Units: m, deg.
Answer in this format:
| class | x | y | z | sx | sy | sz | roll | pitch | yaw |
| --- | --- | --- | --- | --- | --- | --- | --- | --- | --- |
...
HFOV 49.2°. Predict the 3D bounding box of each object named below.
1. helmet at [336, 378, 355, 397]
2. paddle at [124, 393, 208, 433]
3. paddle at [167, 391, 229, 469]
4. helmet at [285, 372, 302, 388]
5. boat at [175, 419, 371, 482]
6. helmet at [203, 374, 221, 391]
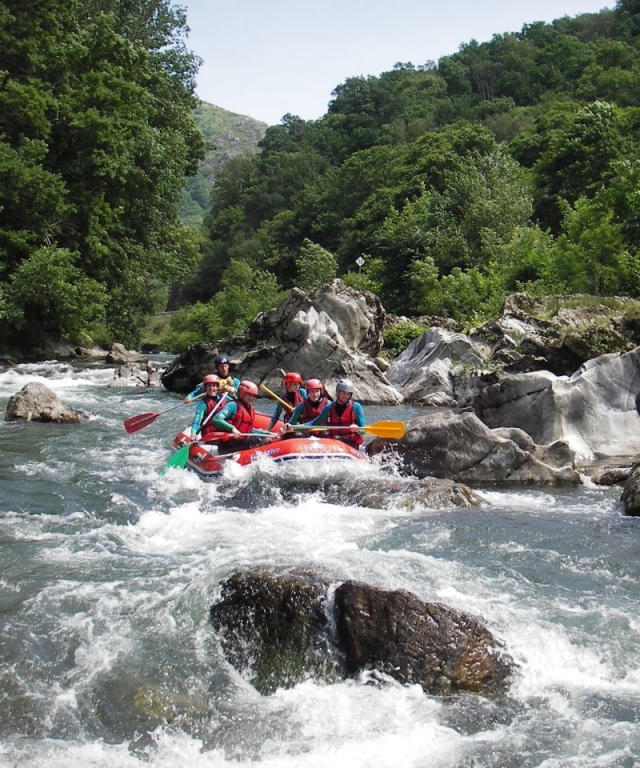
| class | x | y | z | sx | sy | sz | roll | pitch | yaw |
| --- | --- | --- | --- | --- | --- | --- | --- | --- | --- |
| helmet | 0.379 | 0.055 | 10.611 | 0.204 | 0.188 | 0.246 | 6 | 15 | -6 |
| paddle | -3.437 | 0.665 | 15.432 | 2.245 | 0.341 | 0.106 | -19 | 11 | 12 |
| paddle | -2.082 | 0.810 | 11.857 | 1.916 | 0.255 | 0.092 | -40 | -8 | 25 |
| helmet | -0.462 | -0.064 | 11.289 | 0.261 | 0.187 | 0.211 | -9 | -10 | 41 |
| boat | -0.816 | 1.029 | 10.381 | 2.687 | 0.704 | 1.390 | 5 | 9 | 38 |
| helmet | -1.790 | -0.023 | 11.516 | 0.226 | 0.197 | 0.274 | -5 | 2 | -15 |
